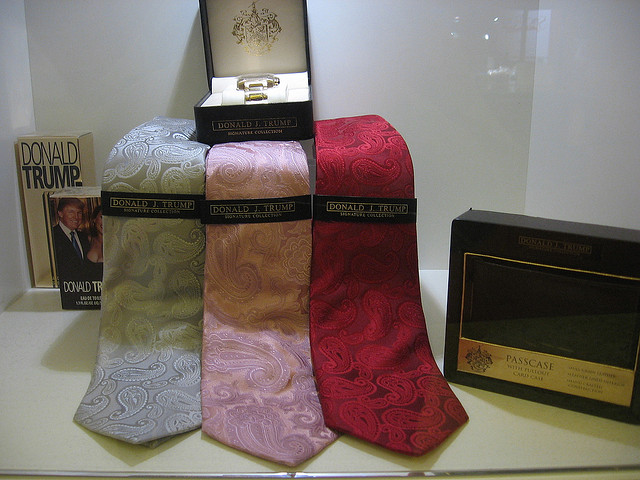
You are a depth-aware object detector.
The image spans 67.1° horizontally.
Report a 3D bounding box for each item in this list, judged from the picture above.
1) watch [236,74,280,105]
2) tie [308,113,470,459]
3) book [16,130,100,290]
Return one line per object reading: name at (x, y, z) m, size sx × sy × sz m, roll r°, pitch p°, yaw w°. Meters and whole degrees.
watch at (-0.144, -0.357, 1.142) m, size 0.104 × 0.078 × 0.028 m, roll -1°, pitch -10°, yaw 1°
tie at (0.097, 0.031, 0.988) m, size 0.244 × 0.771 × 0.098 m, roll -4°, pitch -26°, yaw -3°
book at (-0.660, -0.050, 1.214) m, size 0.202 × 0.385 × 0.142 m, roll -9°, pitch -16°, yaw -29°
